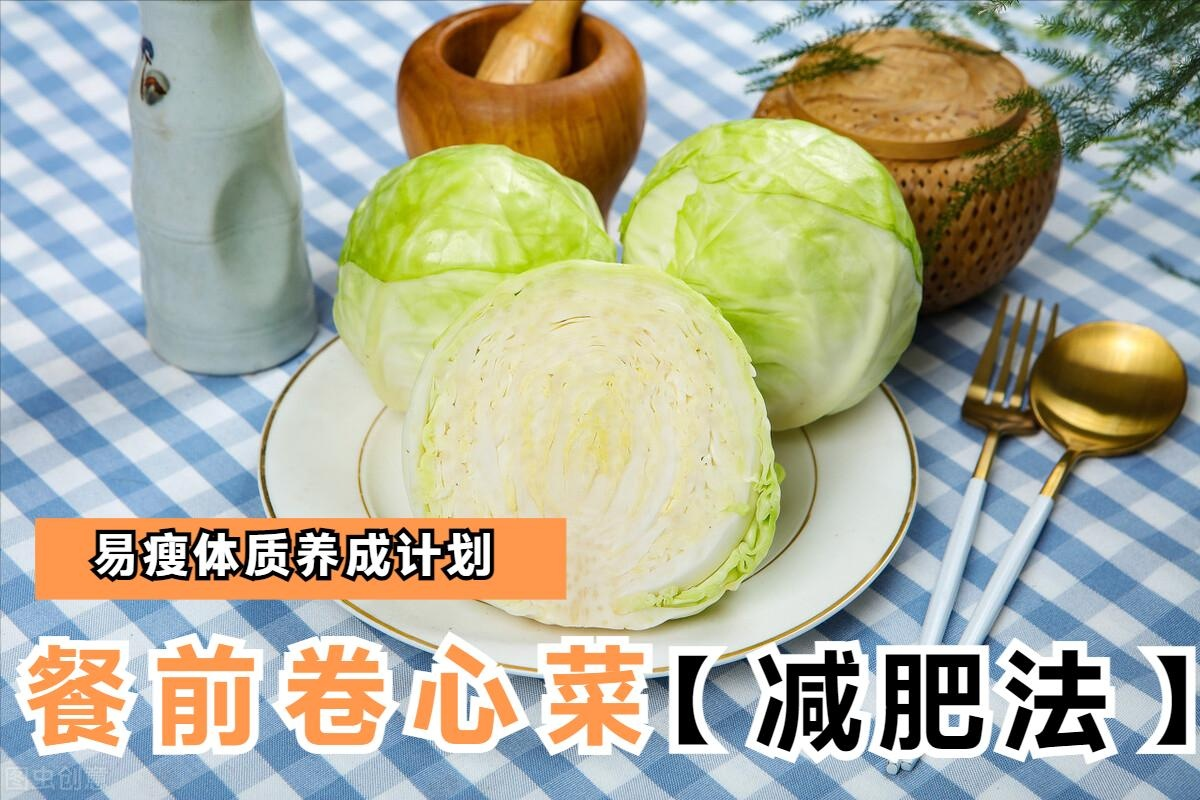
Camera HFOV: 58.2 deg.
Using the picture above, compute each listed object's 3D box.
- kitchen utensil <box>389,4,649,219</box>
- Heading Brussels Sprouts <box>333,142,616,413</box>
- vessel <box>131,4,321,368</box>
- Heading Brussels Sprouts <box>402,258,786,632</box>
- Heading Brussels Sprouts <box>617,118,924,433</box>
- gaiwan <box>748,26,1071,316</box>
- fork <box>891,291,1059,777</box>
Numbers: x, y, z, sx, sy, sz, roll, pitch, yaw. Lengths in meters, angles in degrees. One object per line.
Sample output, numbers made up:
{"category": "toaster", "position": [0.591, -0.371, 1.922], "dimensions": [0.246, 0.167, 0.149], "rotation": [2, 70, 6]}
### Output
{"category": "kitchen utensil", "position": [-0.073, -0.265, 1.051], "dimensions": [0.193, 0.191, 0.200], "rotation": [7, 43, 4]}
{"category": "Heading Brussels Sprouts", "position": [-0.109, -0.120, 0.978], "dimensions": [0.238, 0.194, 0.186], "rotation": [-33, 38, -21]}
{"category": "vessel", "position": [-0.343, -0.175, 0.932], "dimensions": [0.160, 0.304, 0.157], "rotation": [-11, 55, -14]}
{"category": "Heading Brussels Sprouts", "position": [-0.001, 0.031, 0.816], "dimensions": [0.246, 0.132, 0.284], "rotation": [-33, 64, -27]}
{"category": "Heading Brussels Sprouts", "position": [0.160, -0.126, 0.977], "dimensions": [0.252, 0.219, 0.225], "rotation": [31, 49, 18]}
{"category": "gaiwan", "position": [0.301, -0.223, 1.021], "dimensions": [0.225, 0.169, 0.246], "rotation": [-2, 47, 3]}
{"category": "fork", "position": [0.302, 0.116, 0.863], "dimensions": [0.052, 0.042, 0.383], "rotation": [7, 67, 37]}
